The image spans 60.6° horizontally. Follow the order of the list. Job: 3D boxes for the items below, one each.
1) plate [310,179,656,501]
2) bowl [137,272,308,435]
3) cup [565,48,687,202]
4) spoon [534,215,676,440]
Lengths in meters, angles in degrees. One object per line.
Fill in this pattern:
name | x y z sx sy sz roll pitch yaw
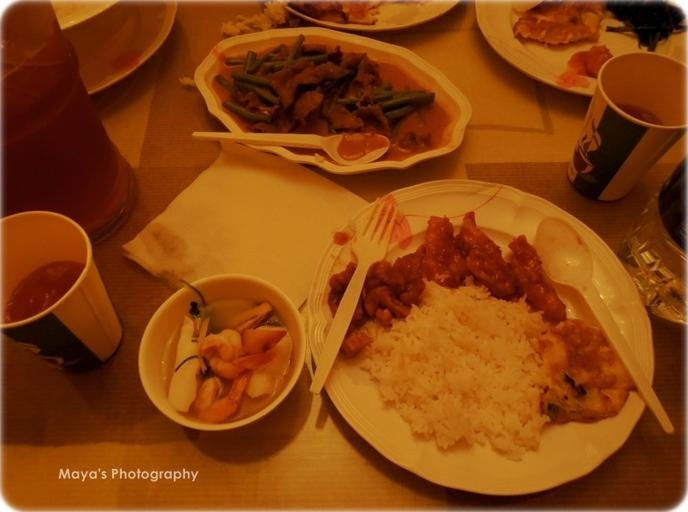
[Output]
plate | 0.278 0.131 1.220 0.701 0.093 0.659 11 64 11
bowl | -0.263 0.150 1.129 0.294 0.122 0.322 2 67 -6
cup | 0.644 -0.278 1.335 0.204 0.258 0.212 -3 61 5
spoon | 0.507 0.054 1.268 0.127 0.095 0.665 -12 68 -2
